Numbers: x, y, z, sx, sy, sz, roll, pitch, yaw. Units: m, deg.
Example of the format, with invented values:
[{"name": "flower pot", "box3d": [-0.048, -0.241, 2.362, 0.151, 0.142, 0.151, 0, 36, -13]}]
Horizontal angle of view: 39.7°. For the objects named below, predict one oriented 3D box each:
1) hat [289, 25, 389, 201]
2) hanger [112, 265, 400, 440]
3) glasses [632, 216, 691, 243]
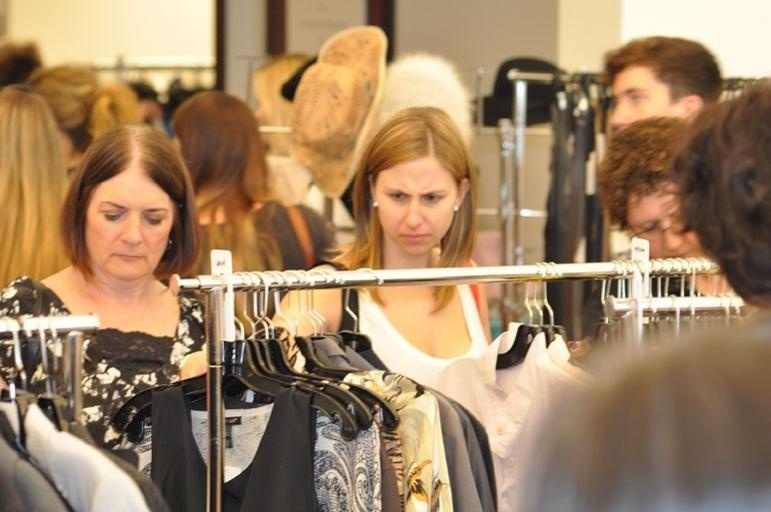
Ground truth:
[{"name": "hat", "box3d": [-0.197, -0.588, 4.410, 0.159, 0.620, 0.427, 0, 18, -42]}, {"name": "hanger", "box3d": [-0.276, 0.275, 2.861, 0.613, 0.203, 0.457, 2, 5, 30]}, {"name": "glasses", "box3d": [0.820, -0.079, 3.256, 0.110, 0.072, 0.155, -5, -3, 5]}]
